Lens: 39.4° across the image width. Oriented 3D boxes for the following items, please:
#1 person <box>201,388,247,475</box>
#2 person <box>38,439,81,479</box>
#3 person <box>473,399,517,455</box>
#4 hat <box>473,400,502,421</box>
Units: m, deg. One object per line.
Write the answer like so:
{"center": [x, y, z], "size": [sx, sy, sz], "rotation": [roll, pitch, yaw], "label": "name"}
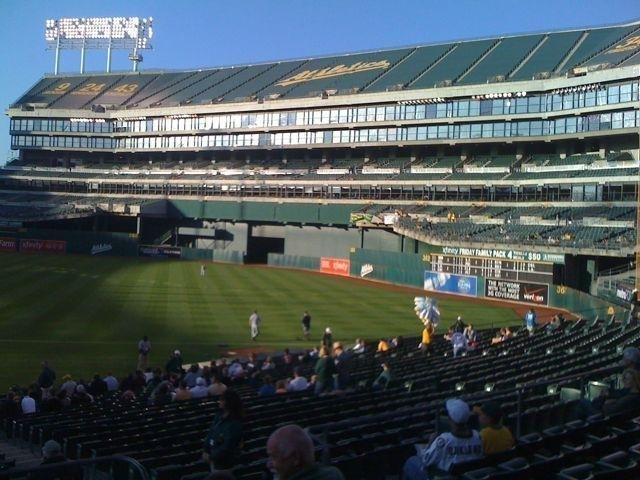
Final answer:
{"center": [-2.992, 5.887, 27.806], "size": [1.229, 2.421, 0.729], "rotation": [-1, 8, -7], "label": "person"}
{"center": [-8.164, 6.821, 28.052], "size": [1.227, 0.937, 2.522], "rotation": [-3, 8, -21], "label": "person"}
{"center": [5.411, 5.847, 28.079], "size": [1.318, 1.810, 1.069], "rotation": [-8, 14, 2], "label": "person"}
{"center": [5.226, 5.232, 28.009], "size": [0.792, 0.424, 0.563], "rotation": [11, 12, 27], "label": "hat"}
